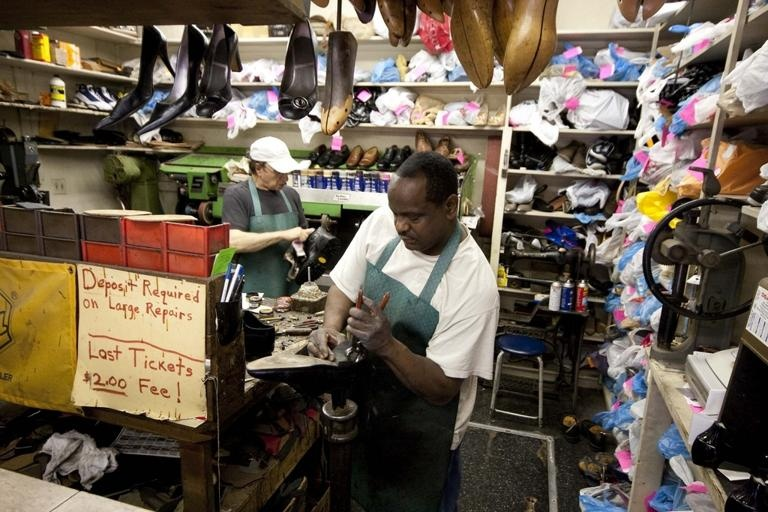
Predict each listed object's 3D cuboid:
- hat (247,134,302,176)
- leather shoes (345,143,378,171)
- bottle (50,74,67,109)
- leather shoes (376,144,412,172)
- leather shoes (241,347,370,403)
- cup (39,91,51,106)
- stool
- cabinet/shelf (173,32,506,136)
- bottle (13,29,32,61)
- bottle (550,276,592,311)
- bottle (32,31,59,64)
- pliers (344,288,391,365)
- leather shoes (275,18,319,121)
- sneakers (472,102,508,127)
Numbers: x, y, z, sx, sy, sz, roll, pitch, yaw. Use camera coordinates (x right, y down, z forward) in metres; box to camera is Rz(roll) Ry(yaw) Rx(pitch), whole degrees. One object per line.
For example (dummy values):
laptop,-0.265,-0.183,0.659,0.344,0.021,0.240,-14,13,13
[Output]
hat,-0.741,-0.714,3.624,0.380,0.141,0.262,30,34,2
leather shoes,-0.195,-0.907,4.854,0.183,0.101,0.336,5,20,14
bottle,-2.877,-1.421,4.626,0.121,0.268,0.249,-5,16,-31
leather shoes,0.076,-0.869,4.703,0.202,0.128,0.366,5,21,22
leather shoes,-0.274,0.446,1.988,0.470,0.195,0.262,0,-21,-35
cup,-2.961,-1.352,4.580,0.087,0.118,0.306,-6,16,-32
stool,1.051,0.940,4.175,0.454,0.517,0.445,-10,16,-31
cabinet/shelf,-0.187,-1.170,3.655,1.671,0.559,0.242,2,11,12
bottle,-2.984,-1.727,4.348,0.128,0.225,0.225,-6,16,-33
bottle,1.460,0.307,4.166,0.291,0.278,0.119,0,13,3
bottle,-2.902,-1.747,4.448,0.103,0.239,0.177,0,14,-14
pliers,-0.078,0.216,2.104,0.157,0.055,0.520,5,-29,-5
leather shoes,-0.389,-0.857,2.468,0.180,0.521,0.135,4,-25,0
sneakers,0.921,-1.219,4.533,0.172,0.113,0.311,3,28,22
